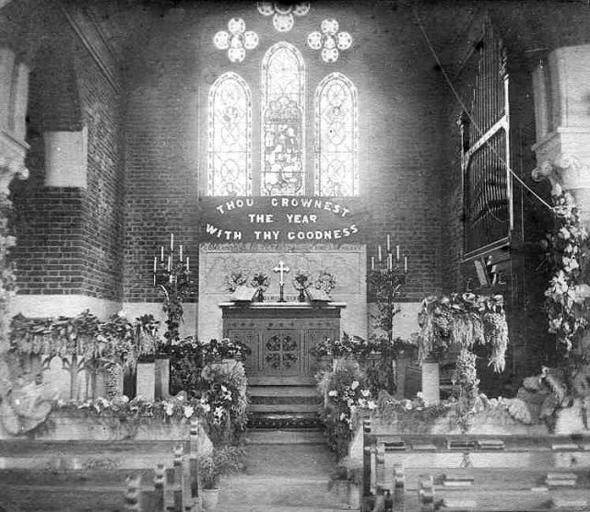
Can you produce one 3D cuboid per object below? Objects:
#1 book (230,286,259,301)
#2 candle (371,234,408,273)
[{"bbox_3d":[-0.554,0.403,11.453,0.186,0.042,0.174,-7,19,-16],"label":"book"},{"bbox_3d":[0.942,-0.023,10.646,0.365,0.399,0.359,2,-6,-4],"label":"candle"}]
